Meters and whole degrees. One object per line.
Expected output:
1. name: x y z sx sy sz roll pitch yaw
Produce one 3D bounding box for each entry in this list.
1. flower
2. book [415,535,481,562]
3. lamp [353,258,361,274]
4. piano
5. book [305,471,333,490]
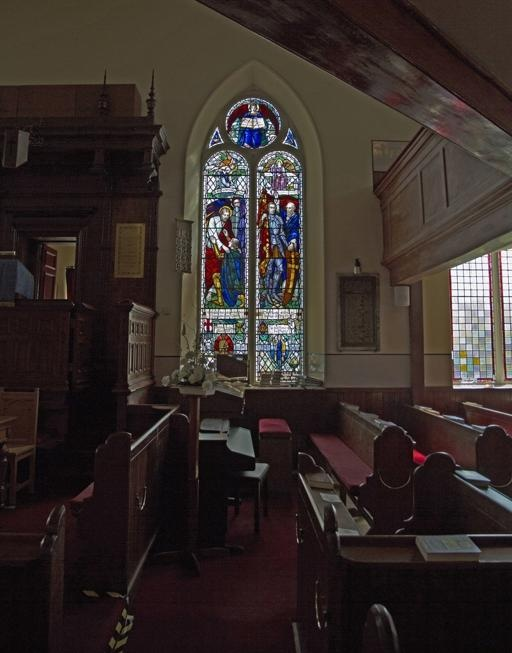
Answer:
1. flower: -0.676 0.277 5.280 0.520 0.723 0.556 -5 -13 23
2. book: 0.655 0.755 1.905 0.211 0.053 0.203 3 0 -1
3. lamp: 1.190 -0.711 6.530 0.090 0.163 0.108 3 0 5
4. piano: -0.222 1.239 4.125 0.349 0.702 0.950 0 -4 -3
5. book: 0.315 0.791 2.768 0.117 0.028 0.119 3 4 -5
